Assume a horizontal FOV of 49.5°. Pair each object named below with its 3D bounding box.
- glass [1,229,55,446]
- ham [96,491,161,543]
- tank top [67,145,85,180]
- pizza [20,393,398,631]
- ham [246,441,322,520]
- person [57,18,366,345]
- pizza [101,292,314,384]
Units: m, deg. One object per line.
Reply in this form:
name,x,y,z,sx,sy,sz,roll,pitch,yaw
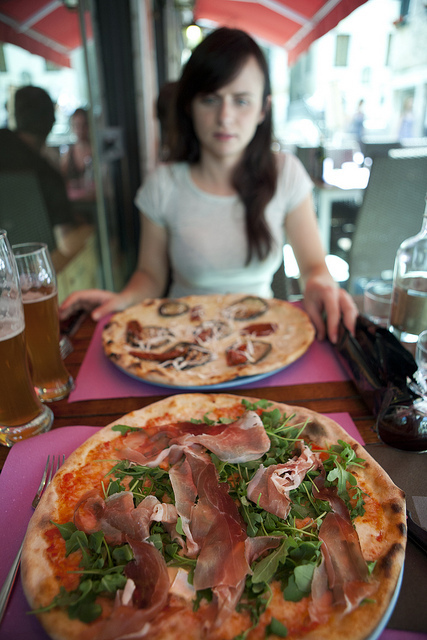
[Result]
glass,-0.262,0.034,0.725,0.084,0.300,0.105,-4,16,-16
ham,-0.103,0.230,0.543,0.073,0.025,0.063,3,21,9
tank top,-0.739,-0.882,2.581,0.102,0.140,0.135,-2,-2,-6
pizza,-0.001,0.207,0.613,0.451,0.069,0.428,3,21,8
ham,0.092,0.197,0.600,0.061,0.034,0.139,12,24,30
person,0.088,-0.461,1.661,0.859,1.056,1.093,4,22,13
pizza,-0.009,0.023,1.121,0.494,0.046,0.516,-6,21,-14
